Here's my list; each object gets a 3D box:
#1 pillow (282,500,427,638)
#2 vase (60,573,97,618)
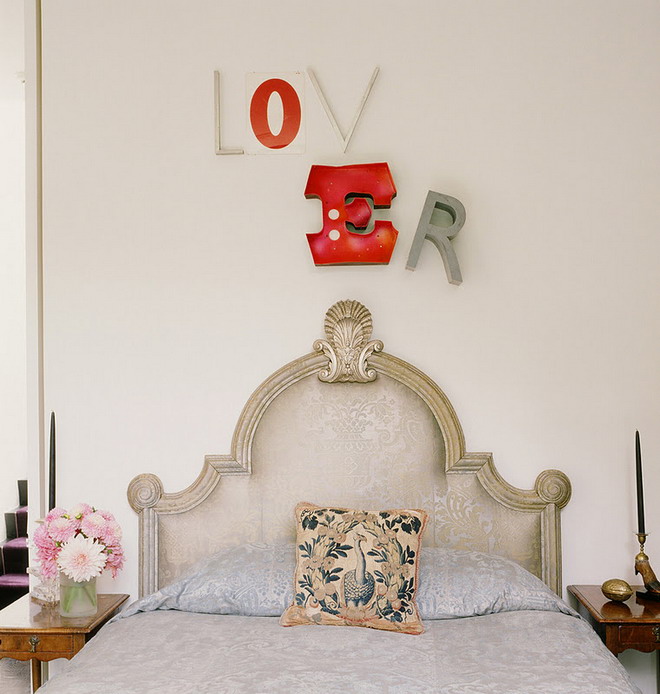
[{"bbox_3d":[0.083,0.733,3.193,0.357,0.324,0.118,1,-34,4],"label":"pillow"},{"bbox_3d":[-0.849,0.857,3.407,0.136,0.142,0.132,1,-5,-7],"label":"vase"}]
